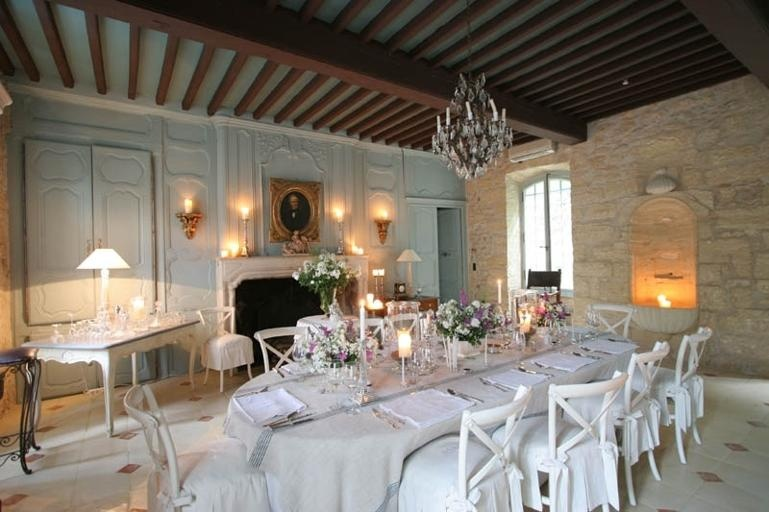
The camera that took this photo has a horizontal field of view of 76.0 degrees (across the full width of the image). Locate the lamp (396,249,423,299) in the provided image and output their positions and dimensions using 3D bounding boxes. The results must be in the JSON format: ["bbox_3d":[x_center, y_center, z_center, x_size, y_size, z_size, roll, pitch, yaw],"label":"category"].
[{"bbox_3d":[0.414,0.270,8.641,0.392,0.812,0.671,-3,-2,4],"label":"lamp"}]

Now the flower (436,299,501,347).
[{"bbox_3d":[0.762,0.593,4.827,0.493,0.337,0.482,0,-2,-19],"label":"flower"}]

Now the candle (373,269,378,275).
[{"bbox_3d":[-0.151,0.264,8.349,0.070,0.098,0.084,0,-7,1],"label":"candle"}]

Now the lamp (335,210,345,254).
[{"bbox_3d":[-0.722,-0.404,7.953,0.121,0.752,0.185,-3,-2,6],"label":"lamp"}]

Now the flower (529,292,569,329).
[{"bbox_3d":[1.861,0.585,5.497,0.453,0.454,0.395,1,-3,-20],"label":"flower"}]

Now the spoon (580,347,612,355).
[{"bbox_3d":[2.151,0.953,5.098,0.084,0.070,0.471,-3,-3,-16],"label":"spoon"}]

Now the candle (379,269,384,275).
[{"bbox_3d":[-0.058,0.264,8.371,0.070,0.095,0.096,-2,-5,18],"label":"candle"}]

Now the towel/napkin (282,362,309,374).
[{"bbox_3d":[-0.845,1.079,4.773,0.185,0.048,0.186,3,-1,30],"label":"towel/napkin"}]

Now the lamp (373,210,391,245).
[{"bbox_3d":[-0.012,-0.512,8.468,0.186,0.583,0.310,-4,-3,38],"label":"lamp"}]

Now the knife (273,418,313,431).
[{"bbox_3d":[-0.746,1.346,3.978,0.324,0.061,0.061,-2,-3,-17],"label":"knife"}]

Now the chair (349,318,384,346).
[{"bbox_3d":[-0.152,0.813,5.614,0.377,0.266,0.376,0,-5,2],"label":"chair"}]

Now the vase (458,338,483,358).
[{"bbox_3d":[0.855,0.917,4.901,0.155,0.104,0.235,-8,-11,42],"label":"vase"}]

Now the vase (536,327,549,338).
[{"bbox_3d":[1.735,0.830,5.434,0.101,0.075,0.106,1,-2,5],"label":"vase"}]

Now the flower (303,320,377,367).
[{"bbox_3d":[-0.382,0.769,4.393,0.474,0.355,0.495,3,2,3],"label":"flower"}]

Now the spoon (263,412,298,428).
[{"bbox_3d":[-0.849,1.324,4.009,0.265,0.045,0.086,-4,19,-42],"label":"spoon"}]

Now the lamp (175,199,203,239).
[{"bbox_3d":[-2.760,-0.543,6.979,0.351,0.590,0.185,-2,-2,-22],"label":"lamp"}]

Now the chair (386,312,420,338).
[{"bbox_3d":[0.196,0.716,5.339,0.254,0.244,0.328,0,2,-18],"label":"chair"}]

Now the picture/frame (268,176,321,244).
[{"bbox_3d":[-1.386,-0.710,7.598,0.762,0.936,0.125,-1,-2,-28],"label":"picture/frame"}]

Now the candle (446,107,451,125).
[{"bbox_3d":[0.643,-1.411,4.974,0.024,0.166,0.058,-3,-2,5],"label":"candle"}]

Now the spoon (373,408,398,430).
[{"bbox_3d":[0.002,1.310,4.033,0.074,0.048,0.308,-13,13,-29],"label":"spoon"}]

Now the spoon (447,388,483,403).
[{"bbox_3d":[0.662,1.189,4.276,0.089,0.071,0.488,-10,5,-29],"label":"spoon"}]

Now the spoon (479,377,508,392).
[{"bbox_3d":[0.969,1.135,4.403,0.069,0.048,0.321,-1,-1,-16],"label":"spoon"}]

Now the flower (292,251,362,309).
[{"bbox_3d":[-0.777,0.280,6.539,0.806,0.868,0.912,-2,-3,33],"label":"flower"}]

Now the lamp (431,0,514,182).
[{"bbox_3d":[0.975,-1.746,5.573,0.850,1.868,1.645,-3,-2,10],"label":"lamp"}]

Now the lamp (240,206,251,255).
[{"bbox_3d":[-2.052,-0.370,7.234,0.115,0.709,0.119,-2,-2,-17],"label":"lamp"}]

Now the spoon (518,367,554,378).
[{"bbox_3d":[1.405,1.079,4.587,0.045,0.035,0.268,-7,6,-35],"label":"spoon"}]
